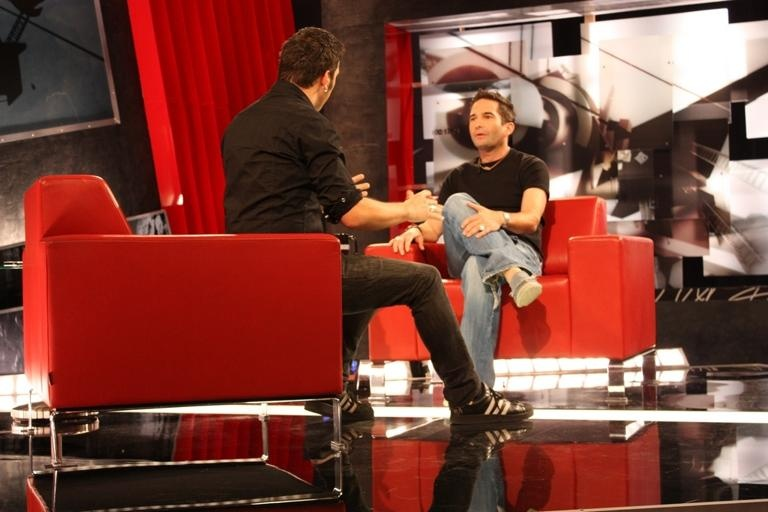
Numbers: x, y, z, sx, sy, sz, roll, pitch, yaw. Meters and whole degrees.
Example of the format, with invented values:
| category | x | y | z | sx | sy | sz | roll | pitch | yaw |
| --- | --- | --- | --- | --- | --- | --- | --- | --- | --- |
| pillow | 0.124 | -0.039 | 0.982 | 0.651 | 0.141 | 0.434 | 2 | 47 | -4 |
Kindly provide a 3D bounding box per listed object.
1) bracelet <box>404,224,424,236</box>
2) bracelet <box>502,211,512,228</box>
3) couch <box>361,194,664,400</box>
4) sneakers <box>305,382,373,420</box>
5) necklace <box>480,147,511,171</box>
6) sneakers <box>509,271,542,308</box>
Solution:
| category | x | y | z | sx | sy | sz | roll | pitch | yaw |
| --- | --- | --- | --- | --- | --- | --- | --- | --- | --- |
| bracelet | 0.177 | -0.153 | 4.228 | 0.062 | 0.063 | 0.076 | -4 | 10 | -10 |
| bracelet | 0.649 | -0.193 | 3.891 | 0.052 | 0.071 | 0.078 | -13 | 21 | -34 |
| couch | 0.761 | 0.168 | 4.393 | 1.569 | 0.957 | 0.849 | -3 | -1 | 27 |
| sneakers | -0.214 | 0.726 | 3.618 | 0.350 | 0.224 | 0.118 | 3 | 25 | -22 |
| necklace | 0.647 | -0.580 | 4.304 | 0.124 | 0.039 | 0.170 | 1 | 23 | 46 |
| sneakers | 0.703 | 0.168 | 3.708 | 0.130 | 0.101 | 0.207 | -43 | -15 | -4 |
